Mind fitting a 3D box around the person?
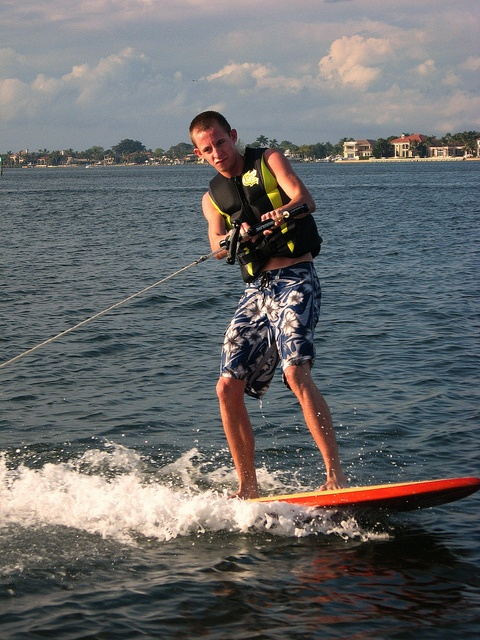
[{"bbox_3d":[0.142,-0.043,5.319,0.753,2.368,1.134,-8,13,-24],"label":"person"}]
